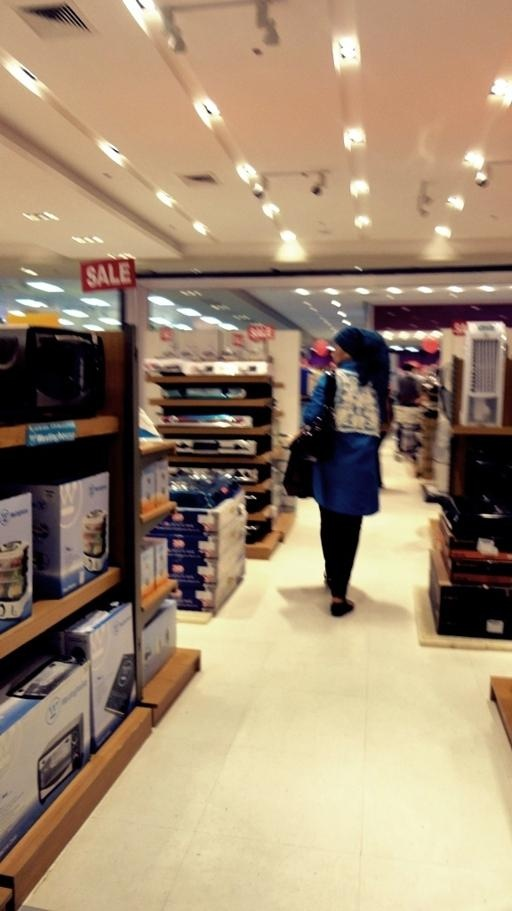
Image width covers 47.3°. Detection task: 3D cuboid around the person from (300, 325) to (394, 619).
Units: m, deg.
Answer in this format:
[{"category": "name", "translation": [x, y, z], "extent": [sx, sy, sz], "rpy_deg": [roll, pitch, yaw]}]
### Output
[{"category": "person", "translation": [0.484, 0.059, 3.103], "extent": [0.514, 1.507, 0.315], "rpy_deg": [1, 2, -10]}]

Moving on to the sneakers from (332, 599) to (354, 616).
[{"category": "sneakers", "translation": [0.453, 0.780, 3.018], "extent": [0.161, 0.073, 0.071], "rpy_deg": [-1, 3, -37]}]
